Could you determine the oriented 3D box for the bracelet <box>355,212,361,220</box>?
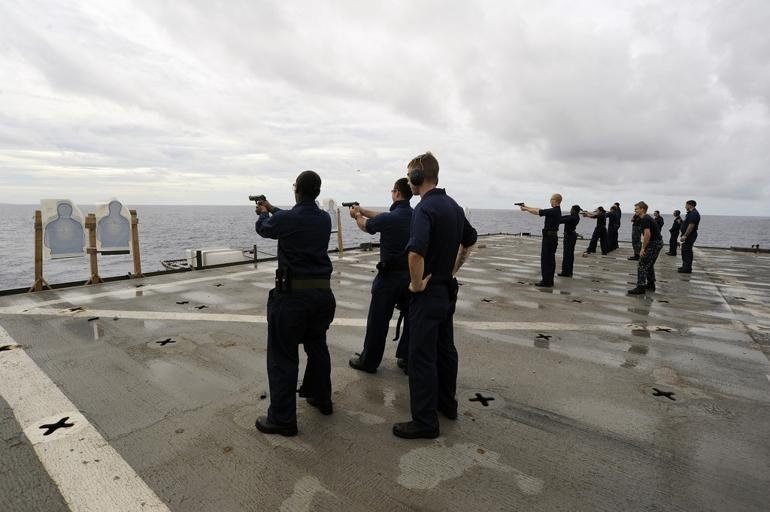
[{"bbox_3d":[-0.353,-0.526,5.633,0.099,0.084,0.062,-17,11,-13],"label":"bracelet"}]

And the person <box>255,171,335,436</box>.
[{"bbox_3d":[-0.998,0.489,4.823,0.839,2.850,0.909,1,12,-6],"label":"person"}]

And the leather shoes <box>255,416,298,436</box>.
[{"bbox_3d":[-1.195,1.889,4.780,0.434,0.167,0.191,9,0,1],"label":"leather shoes"}]

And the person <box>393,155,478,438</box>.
[{"bbox_3d":[0.528,0.410,4.743,0.751,3.064,1.254,4,12,10],"label":"person"}]

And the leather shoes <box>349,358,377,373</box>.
[{"bbox_3d":[-0.340,1.528,5.928,0.401,0.160,0.160,18,15,28],"label":"leather shoes"}]

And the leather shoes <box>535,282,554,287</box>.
[{"bbox_3d":[4.065,0.712,11.032,0.475,0.174,0.156,5,6,32],"label":"leather shoes"}]

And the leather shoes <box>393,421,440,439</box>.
[{"bbox_3d":[0.331,1.877,4.667,0.432,0.144,0.212,6,-6,3],"label":"leather shoes"}]
